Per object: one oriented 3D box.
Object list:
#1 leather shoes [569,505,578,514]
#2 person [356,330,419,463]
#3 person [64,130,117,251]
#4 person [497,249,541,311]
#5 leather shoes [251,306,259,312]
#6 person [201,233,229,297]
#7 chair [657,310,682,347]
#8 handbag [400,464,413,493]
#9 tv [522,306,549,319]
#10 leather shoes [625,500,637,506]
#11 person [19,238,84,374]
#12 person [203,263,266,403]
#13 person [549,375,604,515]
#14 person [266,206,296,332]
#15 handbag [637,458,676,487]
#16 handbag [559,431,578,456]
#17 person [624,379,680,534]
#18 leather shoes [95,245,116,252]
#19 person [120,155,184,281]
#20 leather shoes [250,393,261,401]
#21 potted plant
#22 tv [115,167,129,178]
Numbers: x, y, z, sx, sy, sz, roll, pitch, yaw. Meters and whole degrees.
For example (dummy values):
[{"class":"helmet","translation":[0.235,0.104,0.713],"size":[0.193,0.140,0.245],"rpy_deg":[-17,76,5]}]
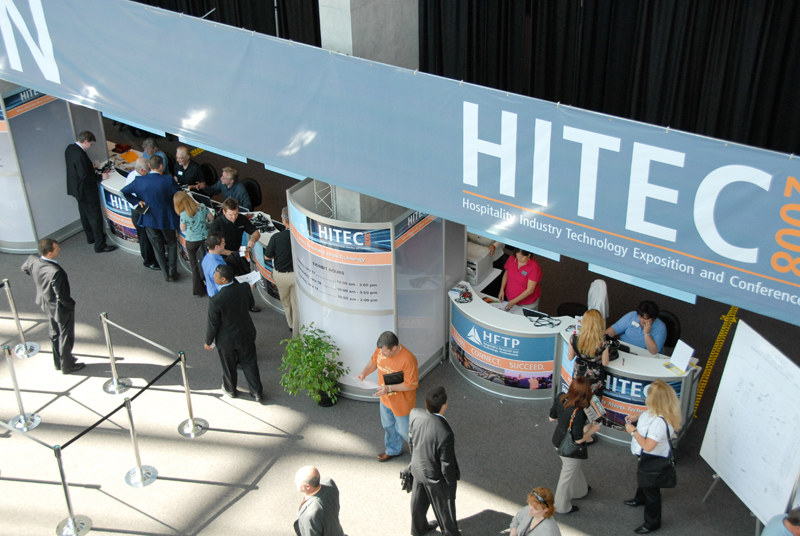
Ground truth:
[{"class":"leather shoes","translation":[1.908,2.648,7.159],"size":[0.121,0.050,0.043],"rpy_deg":[-23,32,-39]},{"class":"person","translation":[-0.113,1.507,7.315],"size":[0.665,1.797,0.645],"rpy_deg":[16,33,28]},{"class":"person","translation":[-5.126,-1.236,10.672],"size":[0.580,1.983,0.444],"rpy_deg":[-10,26,-24]},{"class":"person","translation":[1.562,0.179,8.532],"size":[0.519,0.858,0.512],"rpy_deg":[7,24,12]},{"class":"leather shoes","translation":[-2.195,0.614,9.874],"size":[0.118,0.086,0.052],"rpy_deg":[-3,40,-1]},{"class":"person","translation":[-2.399,-0.065,8.453],"size":[0.361,1.020,0.328],"rpy_deg":[29,49,13]},{"class":"chair","translation":[3.415,0.783,8.267],"size":[0.285,0.335,0.382],"rpy_deg":[30,-2,34]},{"class":"handbag","translation":[0.073,2.172,6.757],"size":[0.121,0.243,0.324],"rpy_deg":[0,10,-9]},{"class":"tv","translation":[1.701,0.565,8.343],"size":[0.198,0.065,0.205],"rpy_deg":[7,11,-8]},{"class":"leather shoes","translation":[2.554,2.600,7.189],"size":[0.132,0.056,0.047],"rpy_deg":[8,39,6]},{"class":"person","translation":[-4.557,0.499,8.613],"size":[0.533,1.868,0.331],"rpy_deg":[19,29,35]},{"class":"person","translation":[-2.092,0.858,8.133],"size":[0.650,1.850,0.332],"rpy_deg":[-5,24,-15]},{"class":"person","translation":[1.889,1.875,6.939],"size":[0.554,1.652,0.342],"rpy_deg":[-7,25,-17]},{"class":"person","translation":[-1.662,0.127,8.990],"size":[0.364,1.873,0.983],"rpy_deg":[-4,25,-12]},{"class":"handbag","translation":[2.635,2.099,6.674],"size":[0.288,0.297,0.126],"rpy_deg":[2,27,18]},{"class":"handbag","translation":[1.752,1.815,6.741],"size":[0.209,0.252,0.136],"rpy_deg":[12,47,22]},{"class":"person","translation":[2.678,2.031,6.902],"size":[0.630,1.875,0.649],"rpy_deg":[4,37,20]},{"class":"leather shoes","translation":[-4.960,-0.317,10.967],"size":[0.320,0.146,0.108],"rpy_deg":[-10,31,-18]},{"class":"person","translation":[-3.709,-0.725,10.045],"size":[0.600,1.955,0.238],"rpy_deg":[-7,25,-18]},{"class":"leather shoes","translation":[-1.874,1.679,8.442],"size":[0.129,0.060,0.068],"rpy_deg":[38,34,9]},{"class":"potted plant","translation":[-1.144,1.294,8.243],"size":[0.774,0.967,0.511],"rpy_deg":[14,27,25]},{"class":"tv","translation":[-4.610,-1.579,10.790],"size":[0.173,0.135,0.178],"rpy_deg":[22,39,26]}]
